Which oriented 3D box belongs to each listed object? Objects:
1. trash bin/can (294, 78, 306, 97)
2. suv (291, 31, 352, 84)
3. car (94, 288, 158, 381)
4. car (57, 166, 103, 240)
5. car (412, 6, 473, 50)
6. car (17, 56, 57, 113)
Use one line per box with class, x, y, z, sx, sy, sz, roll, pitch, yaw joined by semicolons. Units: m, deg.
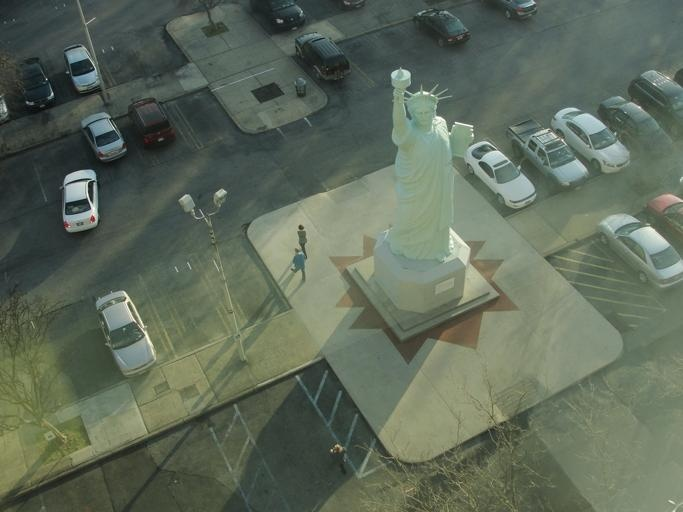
trash bin/can;-2.784;-11.600;64.223;0.837;1.264;1.112;-1;65;-1
suv;-1.044;-13.340;66.429;3.300;3.534;3.883;-3;29;-24
car;-12.048;4.645;53.596;2.152;1.725;5.629;-19;79;-17
car;-16.023;-3.295;58.571;1.952;1.671;3.592;-13;51;5
car;7.182;-16.353;68.073;1.982;1.699;4.037;-40;54;-18
car;-21.016;-11.766;65.354;1.877;1.904;3.454;-27;51;-8
